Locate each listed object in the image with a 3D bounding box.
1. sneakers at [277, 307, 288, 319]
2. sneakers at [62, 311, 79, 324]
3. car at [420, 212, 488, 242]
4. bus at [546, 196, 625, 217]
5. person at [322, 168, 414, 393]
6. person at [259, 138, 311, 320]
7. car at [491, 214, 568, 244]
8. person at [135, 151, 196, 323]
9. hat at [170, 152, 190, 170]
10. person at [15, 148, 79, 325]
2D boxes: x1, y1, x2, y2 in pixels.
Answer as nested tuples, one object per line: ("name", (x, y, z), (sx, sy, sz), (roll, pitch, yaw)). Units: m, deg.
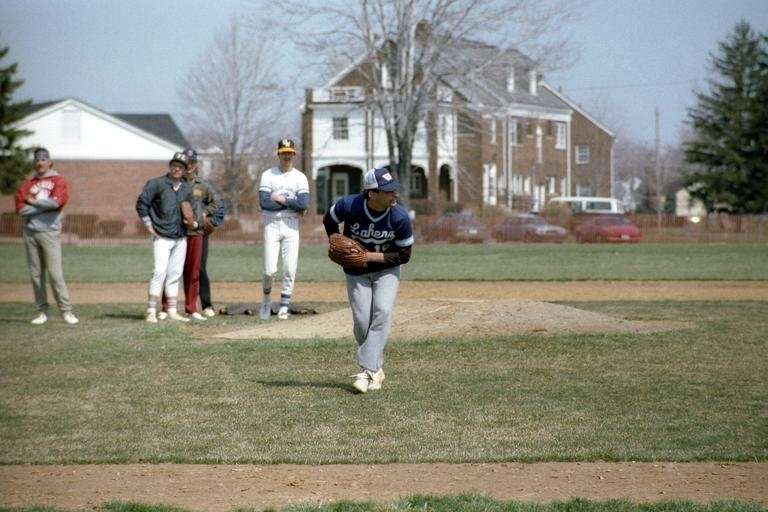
("sneakers", (-2.134, 1.231, 32.933), (0.183, 0.260, 0.107), (6, -8, 2))
("sneakers", (-6.614, 1.283, 32.277), (0.207, 0.170, 0.382), (-23, 24, -40))
("car", (2.554, -0.933, 53.463), (0.948, 0.712, 2.231), (-1, 5, -40))
("bus", (6.729, -1.583, 49.709), (2.172, 0.613, 3.388), (-1, 4, 9))
("person", (-0.193, 0.455, 28.991), (1.539, 4.204, 0.597), (-2, 4, 0))
("person", (-2.099, -0.541, 32.571), (1.067, 3.794, 0.638), (-2, 4, -5))
("car", (4.636, -0.873, 51.123), (1.824, 0.644, 1.102), (1, 4, 38))
("person", (-4.555, -0.383, 32.304), (1.152, 3.556, 0.621), (-2, 4, -8))
("hat", (-4.242, -2.005, 32.173), (0.267, 0.320, 0.475), (2, 5, 41))
("person", (-7.094, -0.409, 32.136), (1.092, 3.659, 0.674), (-2, 4, -12))
